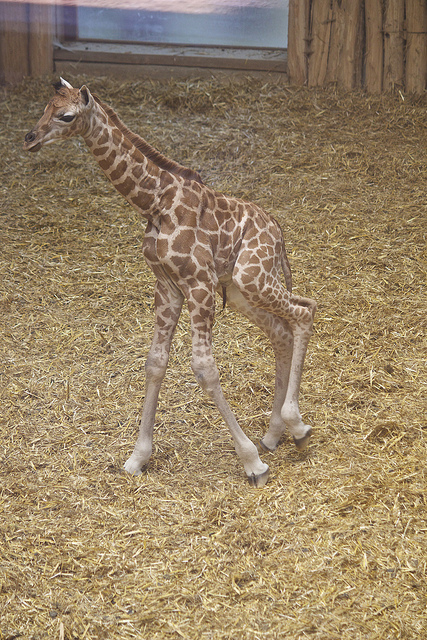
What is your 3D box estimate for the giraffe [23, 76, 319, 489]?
[{"bbox_3d":[-0.104,-0.109,2.690,1.123,1.538,0.429,4,13,-1],"label":"giraffe"}]
